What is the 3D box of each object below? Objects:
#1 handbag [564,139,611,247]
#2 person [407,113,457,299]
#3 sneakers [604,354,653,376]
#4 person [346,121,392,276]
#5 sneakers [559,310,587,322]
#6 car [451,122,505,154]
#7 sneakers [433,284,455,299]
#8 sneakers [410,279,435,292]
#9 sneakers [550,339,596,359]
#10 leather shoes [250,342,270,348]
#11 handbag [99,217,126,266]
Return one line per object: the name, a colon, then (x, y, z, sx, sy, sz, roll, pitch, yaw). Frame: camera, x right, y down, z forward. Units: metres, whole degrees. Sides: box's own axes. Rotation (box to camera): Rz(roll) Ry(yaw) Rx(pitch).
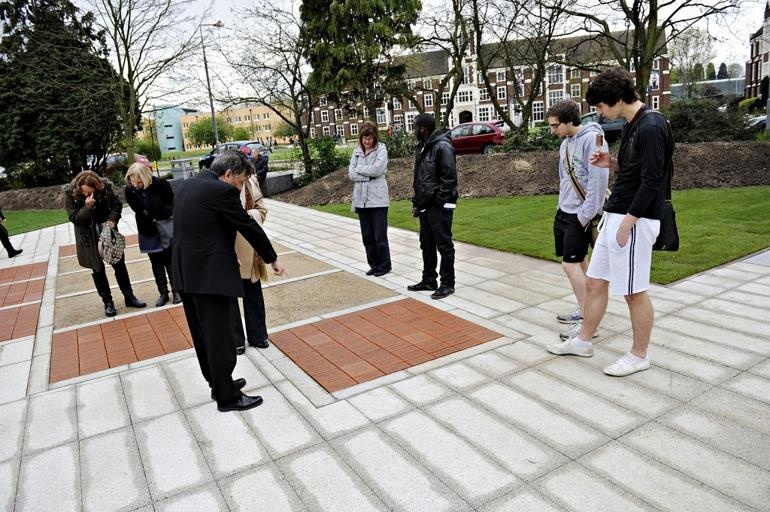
handbag: (2.136, -0.647, 4.271, 0.271, 0.917, 0.753, -8, 7, -21)
person: (0.704, -0.758, 5.756, 0.683, 2.575, 1.060, -2, 17, 7)
sneakers: (2.235, 0.992, 3.712, 0.494, 0.155, 0.166, -9, 6, -10)
person: (-0.255, -0.998, 6.839, 0.672, 2.547, 0.984, -4, 17, 1)
sneakers: (2.220, 0.715, 4.715, 0.347, 0.128, 0.114, -1, 2, 11)
car: (4.809, -6.138, 20.374, 2.571, 1.527, 1.236, 1, 17, 15)
sneakers: (0.836, 0.520, 5.692, 0.355, 0.120, 0.145, -5, 3, -38)
sneakers: (0.584, 0.461, 6.004, 0.391, 0.133, 0.160, 2, 1, -6)
sneakers: (1.910, 0.920, 3.991, 0.470, 0.170, 0.162, 1, 3, 11)
leather shoes: (-1.464, 1.018, 4.618, 0.206, 0.075, 0.083, 2, 8, 23)
handbag: (-4.100, -0.189, 5.888, 0.308, 0.676, 0.421, -19, 22, -41)
